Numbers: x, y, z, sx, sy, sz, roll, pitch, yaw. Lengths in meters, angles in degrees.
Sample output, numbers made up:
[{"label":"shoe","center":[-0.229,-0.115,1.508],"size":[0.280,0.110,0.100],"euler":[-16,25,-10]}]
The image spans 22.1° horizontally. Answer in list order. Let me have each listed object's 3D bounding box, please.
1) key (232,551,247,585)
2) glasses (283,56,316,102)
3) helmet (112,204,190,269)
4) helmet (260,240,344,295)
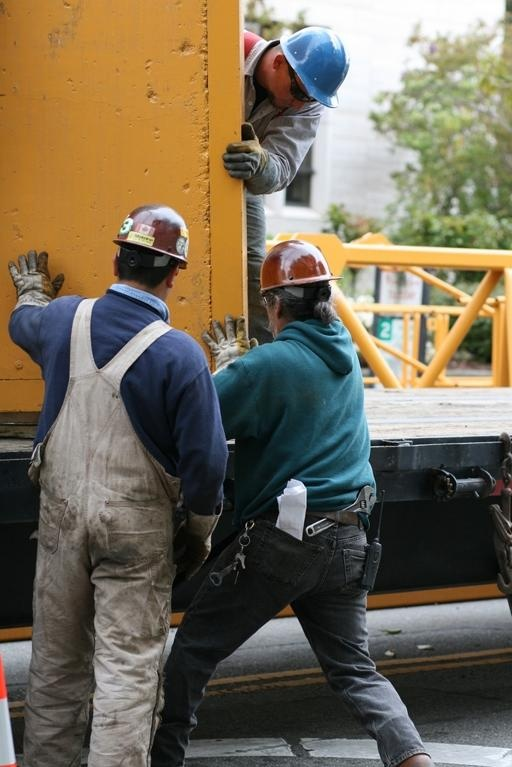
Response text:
[{"label":"key","center":[-0.057,0.615,4.305],"size":[0.043,0.100,0.020],"euler":[-1,6,-11]},{"label":"glasses","center":[0.160,-1.196,5.158],"size":[0.038,0.136,0.138],"euler":[-14,-5,-2]},{"label":"helmet","center":[-0.325,-0.449,4.168],"size":[0.196,0.142,0.223],"euler":[20,9,11]},{"label":"helmet","center":[0.146,-0.391,4.553],"size":[0.179,0.116,0.223],"euler":[-7,-5,-42]}]
